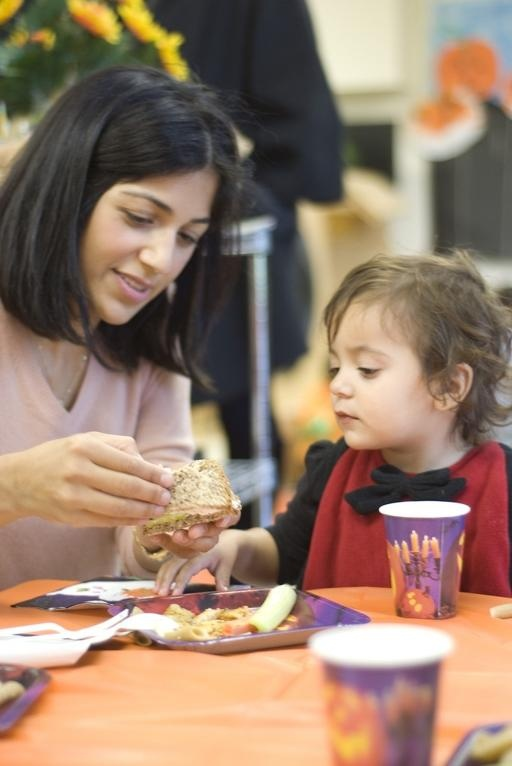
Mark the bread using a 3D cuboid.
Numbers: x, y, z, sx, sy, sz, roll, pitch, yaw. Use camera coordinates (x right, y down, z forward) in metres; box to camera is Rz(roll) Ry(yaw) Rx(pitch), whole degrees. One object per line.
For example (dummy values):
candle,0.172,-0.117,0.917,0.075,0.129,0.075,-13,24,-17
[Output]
bread,-0.084,0.169,1.104,0.113,0.053,0.134,-11,-15,-9
